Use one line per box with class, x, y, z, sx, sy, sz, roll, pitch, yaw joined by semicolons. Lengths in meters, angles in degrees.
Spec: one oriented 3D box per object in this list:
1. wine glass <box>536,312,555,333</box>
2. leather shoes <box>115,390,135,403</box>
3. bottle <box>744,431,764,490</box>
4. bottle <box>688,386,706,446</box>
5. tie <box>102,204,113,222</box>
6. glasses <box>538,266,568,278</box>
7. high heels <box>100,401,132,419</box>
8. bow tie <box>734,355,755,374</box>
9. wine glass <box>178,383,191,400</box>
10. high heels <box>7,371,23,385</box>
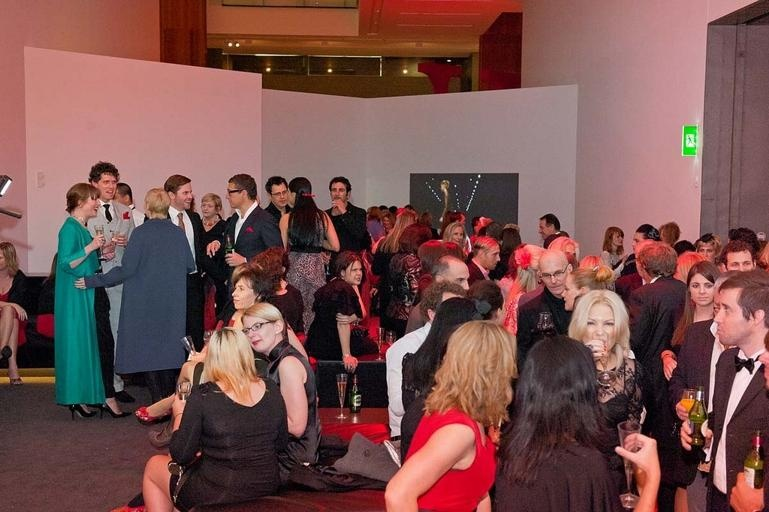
wine glass;1.265;0.531;5.029;0.140;0.192;0.138;-2;2;-6
leather shoes;-2.998;1.622;7.230;0.243;0.111;0.093;6;6;0
bottle;1.995;1.077;3.366;0.082;0.288;0.220;6;8;42
bottle;1.890;0.974;3.794;0.098;0.367;0.153;4;7;27
tie;-3.138;-0.495;7.064;0.060;0.247;0.062;-7;-8;-12
glasses;1.396;0.146;5.203;0.202;0.097;0.113;2;6;9
high heels;-2.998;1.682;6.883;0.397;0.225;0.140;3;-3;12
bow tie;2.066;0.627;3.608;0.104;0.094;0.053;4;7;31
wine glass;-1.345;0.901;4.191;0.071;0.106;0.095;-2;7;-25
high heels;-4.578;1.486;7.743;0.144;0.164;0.275;-3;7;-31
